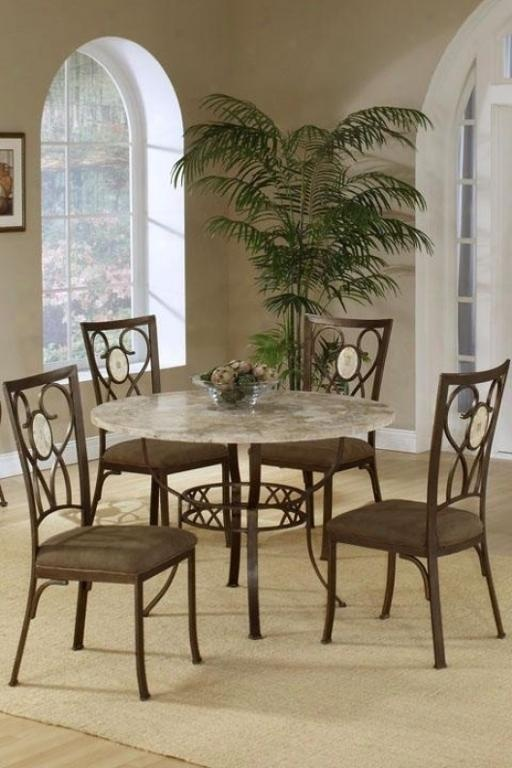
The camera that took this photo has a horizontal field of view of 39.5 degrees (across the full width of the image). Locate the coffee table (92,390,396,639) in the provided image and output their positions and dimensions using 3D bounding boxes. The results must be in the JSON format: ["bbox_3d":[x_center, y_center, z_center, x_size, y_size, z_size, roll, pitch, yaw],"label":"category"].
[{"bbox_3d":[-0.053,0.295,2.404,0.911,0.605,0.884,-2,4,-19],"label":"coffee table"}]
